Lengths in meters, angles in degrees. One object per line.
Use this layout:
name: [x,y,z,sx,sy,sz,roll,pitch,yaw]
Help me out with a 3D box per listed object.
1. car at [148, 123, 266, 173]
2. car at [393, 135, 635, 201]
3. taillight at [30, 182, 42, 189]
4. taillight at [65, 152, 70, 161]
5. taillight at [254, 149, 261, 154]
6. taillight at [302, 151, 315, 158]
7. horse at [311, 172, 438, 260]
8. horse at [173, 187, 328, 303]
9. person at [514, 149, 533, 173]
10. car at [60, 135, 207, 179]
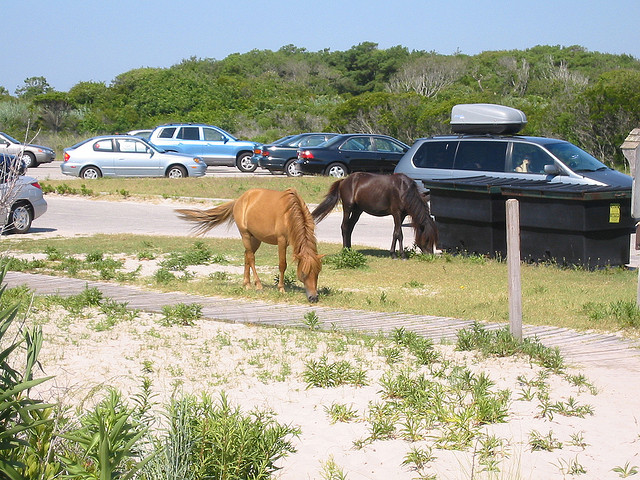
car: [-5.259,-4.450,33.559,5.555,2.223,2.380,-2,8,-11]
car: [4.099,-1.563,15.876,3.126,1.554,6.170,-6,10,-38]
taillight: [-7.152,-1.351,17.797,0.141,0.187,0.478,-1,8,-11]
taillight: [-9.975,-3.270,27.901,0.208,0.215,0.046,0,-4,33]
taillight: [-2.805,-3.912,31.537,0.377,0.214,0.260,3,1,18]
taillight: [-0.513,-3.320,27.738,0.273,0.213,0.284,3,6,15]
horse: [1.133,-0.531,15.445,3.025,1.795,0.784,6,7,32]
horse: [-1.096,-0.083,11.786,0.800,1.762,3.489,-3,10,-39]
person: [4.559,-1.759,15.926,0.215,0.376,0.726,0,25,7]
car: [-7.523,-3.287,28.967,5.231,1.774,2.280,-1,7,-5]
